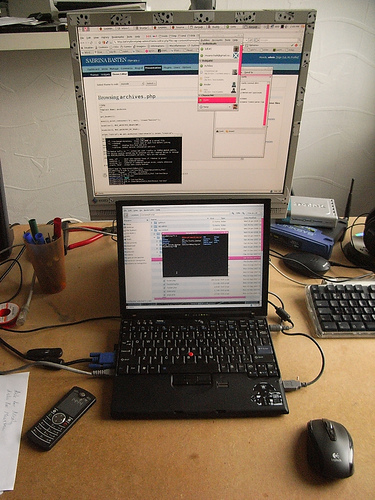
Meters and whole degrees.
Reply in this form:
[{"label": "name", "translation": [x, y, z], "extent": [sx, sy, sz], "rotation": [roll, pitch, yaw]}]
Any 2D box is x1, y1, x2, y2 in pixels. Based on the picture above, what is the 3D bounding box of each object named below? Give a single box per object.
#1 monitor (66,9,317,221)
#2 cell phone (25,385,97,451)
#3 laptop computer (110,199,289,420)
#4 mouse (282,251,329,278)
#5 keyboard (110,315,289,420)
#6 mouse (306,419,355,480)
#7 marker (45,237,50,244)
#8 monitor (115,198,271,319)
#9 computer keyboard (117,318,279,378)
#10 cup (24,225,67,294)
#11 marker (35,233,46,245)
[{"label": "monitor", "translation": [0.007, -0.263, 0.798], "extent": [0.447, 0.371, 0.029], "rotation": [-2, 31, -2]}, {"label": "cell phone", "translation": [-0.201, 0.256, 0.613], "extent": [0.046, 0.010, 0.093], "rotation": [20, 33, 22]}, {"label": "laptop computer", "translation": [0.015, 0.086, 0.705], "extent": [0.320, 0.224, 0.348], "rotation": [-4, 34, -6]}, {"label": "mouse", "translation": [0.296, 0.031, 0.985], "extent": [0.057, 0.024, 0.082], "rotation": [-22, 25, -36]}, {"label": "keyboard", "translation": [0.015, 0.197, 0.712], "extent": [0.283, 0.035, 0.213], "rotation": [-1, 31, 0]}, {"label": "mouse", "translation": [0.206, 0.278, 0.575], "extent": [0.064, 0.032, 0.100], "rotation": [1, 24, 12]}, {"label": "marker", "translation": [-0.308, -0.020, 0.877], "extent": [0.010, 0.010, 0.010], "rotation": [-7, 12, -21]}, {"label": "monitor", "translation": [0.013, 0.024, 0.799], "extent": [0.300, 0.236, 0.021], "rotation": [-1, 13, -3]}, {"label": "computer keyboard", "translation": [0.020, 0.179, 0.733], "extent": [0.285, 0.021, 0.144], "rotation": [-1, 39, -3]}, {"label": "cup", "translation": [-0.317, 0.025, 0.889], "extent": [0.089, 0.153, 0.085], "rotation": [6, 33, -4]}, {"label": "marker", "translation": [-0.305, -0.022, 0.827], "extent": [0.014, 0.024, 0.024], "rotation": [-2, 39, -13]}]
